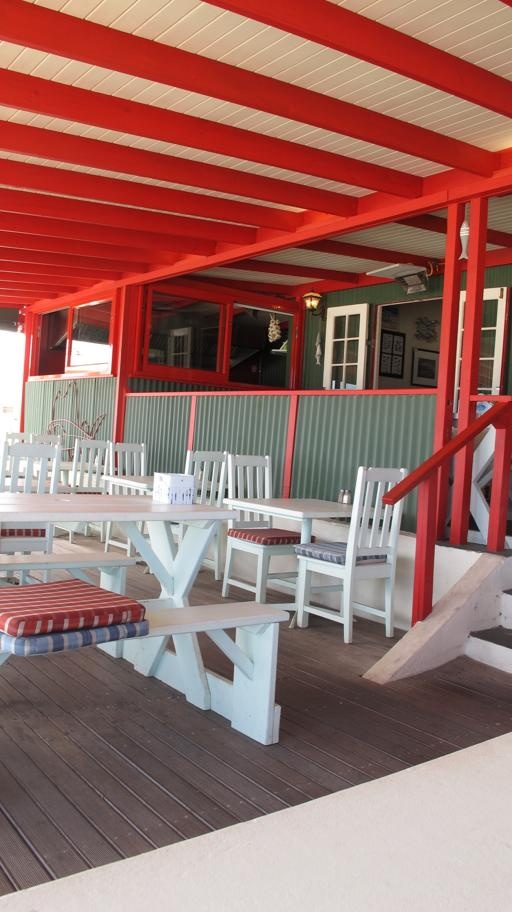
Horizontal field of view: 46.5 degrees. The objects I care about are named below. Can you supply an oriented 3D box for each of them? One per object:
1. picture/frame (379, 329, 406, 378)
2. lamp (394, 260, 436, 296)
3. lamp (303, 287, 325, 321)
[{"bbox_3d":[1.925,-1.491,8.479,0.032,0.730,0.682,9,5,38],"label":"picture/frame"},{"bbox_3d":[1.954,-2.239,7.436,0.562,0.379,0.391,2,1,-38],"label":"lamp"},{"bbox_3d":[0.835,-2.261,8.674,0.287,0.544,0.367,-2,6,-37],"label":"lamp"}]
